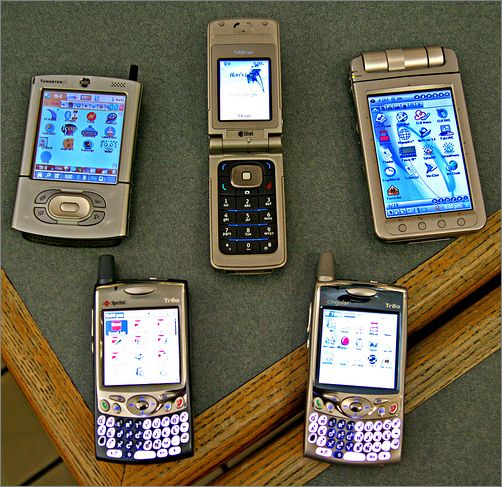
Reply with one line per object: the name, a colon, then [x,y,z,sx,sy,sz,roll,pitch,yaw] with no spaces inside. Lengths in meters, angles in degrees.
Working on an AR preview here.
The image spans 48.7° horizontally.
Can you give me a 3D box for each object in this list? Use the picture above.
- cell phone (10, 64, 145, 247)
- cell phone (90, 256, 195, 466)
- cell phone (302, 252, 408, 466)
cell phone: [-0.244,-0.125,0.779,0.172,0.233,0.110,-5,12,11]
cell phone: [-0.142,0.137,0.657,0.139,0.216,0.047,-2,-11,-1]
cell phone: [0.131,0.144,0.684,0.137,0.211,0.050,4,-9,6]
